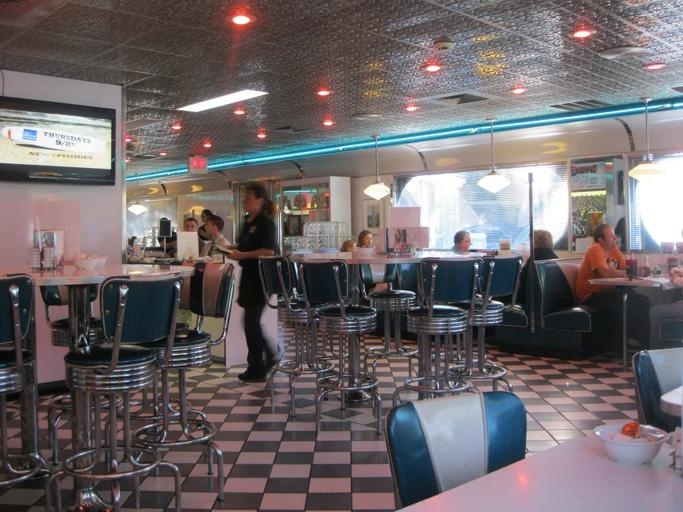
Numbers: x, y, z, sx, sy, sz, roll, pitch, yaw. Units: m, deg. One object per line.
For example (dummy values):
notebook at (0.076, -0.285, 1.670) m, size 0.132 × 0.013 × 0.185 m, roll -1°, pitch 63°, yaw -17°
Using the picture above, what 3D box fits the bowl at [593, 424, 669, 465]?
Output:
bowl at (0.857, 0.559, 1.670) m, size 0.202 × 0.058 × 0.177 m, roll -8°, pitch 7°, yaw -29°

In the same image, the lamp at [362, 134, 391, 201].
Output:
lamp at (0.714, -1.701, 10.761) m, size 0.480 × 1.174 × 1.310 m, roll 0°, pitch 5°, yaw 5°

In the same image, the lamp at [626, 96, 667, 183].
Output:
lamp at (4.222, -1.610, 7.617) m, size 0.390 × 1.155 × 0.994 m, roll 2°, pitch 6°, yaw 28°

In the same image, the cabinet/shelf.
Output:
cabinet/shelf at (-1.065, -0.848, 12.138) m, size 0.842 × 1.631 × 2.132 m, roll 5°, pitch 7°, yaw 34°

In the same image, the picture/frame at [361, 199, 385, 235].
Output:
picture/frame at (0.651, -0.844, 11.510) m, size 0.175 × 0.715 × 0.573 m, roll -5°, pitch 7°, yaw -39°
